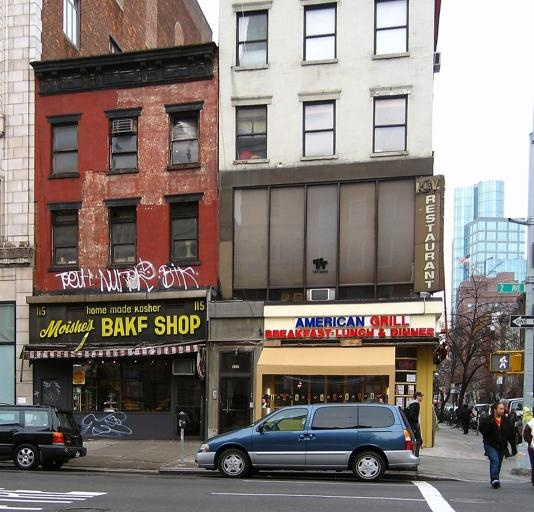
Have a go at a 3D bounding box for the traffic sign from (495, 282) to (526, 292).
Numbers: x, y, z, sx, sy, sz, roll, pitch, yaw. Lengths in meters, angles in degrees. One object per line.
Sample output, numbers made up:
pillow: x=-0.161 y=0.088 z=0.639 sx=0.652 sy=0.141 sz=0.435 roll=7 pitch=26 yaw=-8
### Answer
traffic sign: x=7.127 y=0.922 z=40.684 sx=0.735 sy=0.307 sz=1.130 roll=-5 pitch=-6 yaw=33

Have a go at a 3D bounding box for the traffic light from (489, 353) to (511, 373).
traffic light: x=7.176 y=3.288 z=42.378 sx=0.781 sy=0.934 sz=0.468 roll=0 pitch=-3 yaw=8
